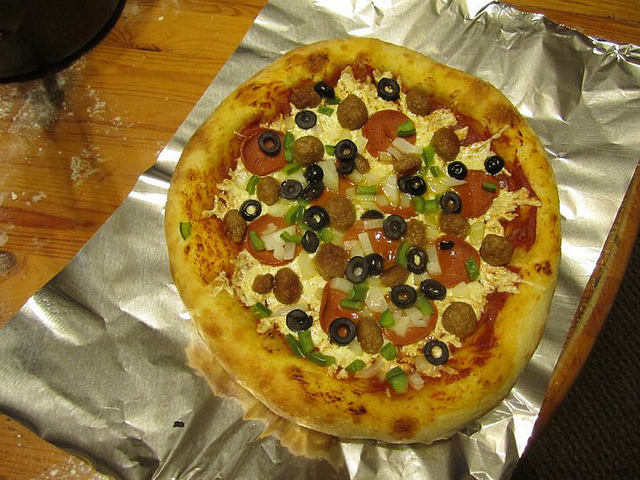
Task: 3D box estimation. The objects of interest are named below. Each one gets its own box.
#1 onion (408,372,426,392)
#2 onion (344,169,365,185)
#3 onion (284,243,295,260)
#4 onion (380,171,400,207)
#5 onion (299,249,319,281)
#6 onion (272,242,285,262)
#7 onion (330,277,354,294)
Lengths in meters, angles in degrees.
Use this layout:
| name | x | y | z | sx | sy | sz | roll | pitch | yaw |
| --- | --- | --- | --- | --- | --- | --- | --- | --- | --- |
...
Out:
| name | x | y | z | sx | sy | sz | roll | pitch | yaw |
| --- | --- | --- | --- | --- | --- | --- | --- | --- | --- |
| onion | 0.638 | 0.945 | 4.211 | 0.104 | 0.035 | 0.102 | 42 | 95 | -1 |
| onion | 0.241 | -0.434 | 4.475 | 0.154 | 0.065 | 0.082 | 40 | 74 | -2 |
| onion | -0.212 | 0.083 | 4.317 | 0.076 | 0.032 | 0.102 | 7 | 84 | -6 |
| onion | 0.486 | -0.348 | 4.411 | 0.173 | 0.050 | 0.212 | -16 | 79 | 24 |
| onion | -0.081 | 0.183 | 4.404 | 0.117 | 0.061 | 0.175 | -21 | 94 | 5 |
| onion | -0.292 | 0.081 | 4.370 | 0.101 | 0.038 | 0.103 | 21 | 88 | 3 |
| onion | 0.140 | 0.291 | 4.299 | 0.172 | 0.071 | 0.088 | 19 | 100 | -11 |
